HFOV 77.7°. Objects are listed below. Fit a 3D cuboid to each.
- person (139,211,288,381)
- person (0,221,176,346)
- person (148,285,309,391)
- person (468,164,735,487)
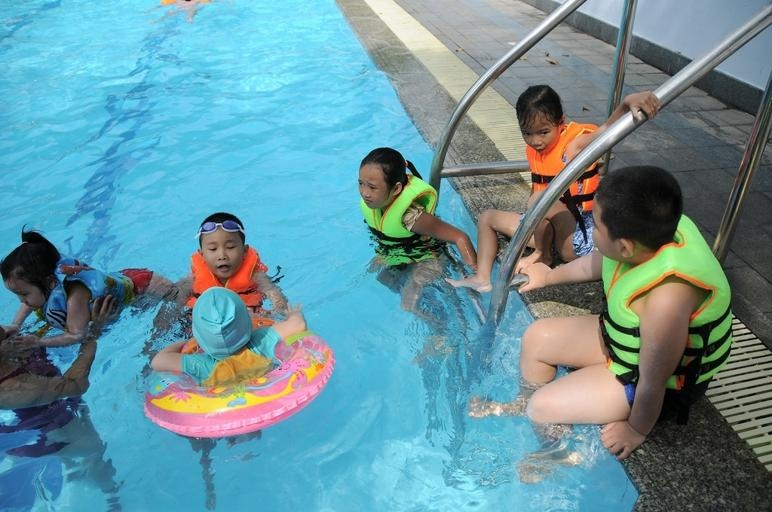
[{"bbox_3d":[-1.207,0.209,3.540,0.820,0.973,0.698,-20,46,-32],"label":"person"},{"bbox_3d":[-2.321,0.244,3.777,0.920,0.576,0.453,-29,59,-22],"label":"person"},{"bbox_3d":[-1.024,0.504,3.140,1.007,0.422,0.524,-18,28,-12],"label":"person"},{"bbox_3d":[1.302,0.332,2.548,1.061,1.355,0.876,-33,49,-30],"label":"person"}]
